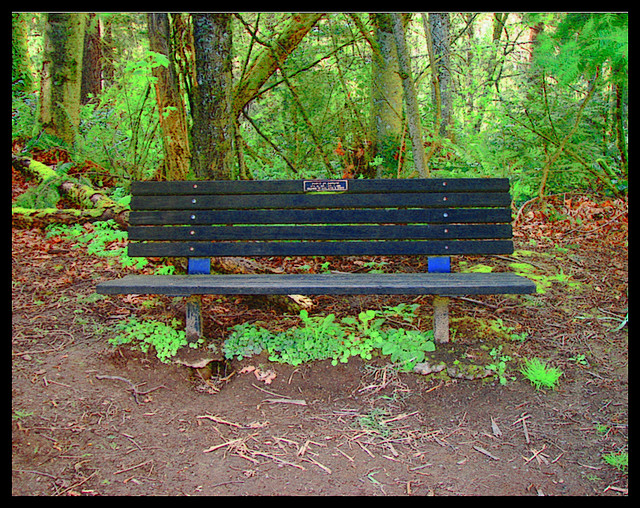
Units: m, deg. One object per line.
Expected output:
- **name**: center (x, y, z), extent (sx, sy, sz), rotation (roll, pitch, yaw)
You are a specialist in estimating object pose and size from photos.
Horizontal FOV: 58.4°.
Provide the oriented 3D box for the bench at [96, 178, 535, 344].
- **bench**: center (0.027, -0.021, 4.836), extent (3.368, 0.881, 0.850), rotation (-2, -15, -21)
